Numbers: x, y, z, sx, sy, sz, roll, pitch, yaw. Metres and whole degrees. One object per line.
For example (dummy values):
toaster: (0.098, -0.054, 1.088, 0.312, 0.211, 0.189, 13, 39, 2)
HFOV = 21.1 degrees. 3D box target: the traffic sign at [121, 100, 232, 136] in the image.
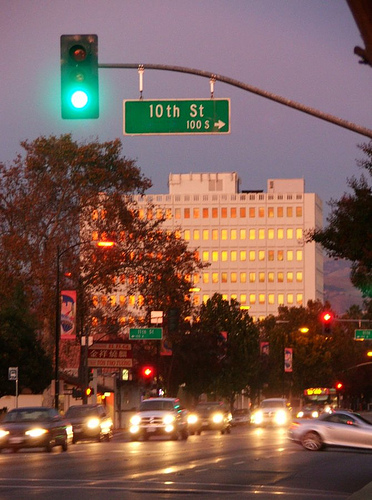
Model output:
traffic sign: (-0.143, -2.152, 16.214, 1.686, 0.660, 0.215, -1, -10, 2)

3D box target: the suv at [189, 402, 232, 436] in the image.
suv: (1.247, 7.828, 46.859, 1.652, 1.757, 3.374, -3, -1, 9)

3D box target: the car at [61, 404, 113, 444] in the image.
car: (-3.555, 6.496, 37.759, 1.093, 1.169, 2.233, -2, -16, 4)

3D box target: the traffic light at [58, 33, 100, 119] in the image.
traffic light: (-1.546, -2.539, 14.693, 0.553, 1.426, 0.245, -1, -20, -6)
